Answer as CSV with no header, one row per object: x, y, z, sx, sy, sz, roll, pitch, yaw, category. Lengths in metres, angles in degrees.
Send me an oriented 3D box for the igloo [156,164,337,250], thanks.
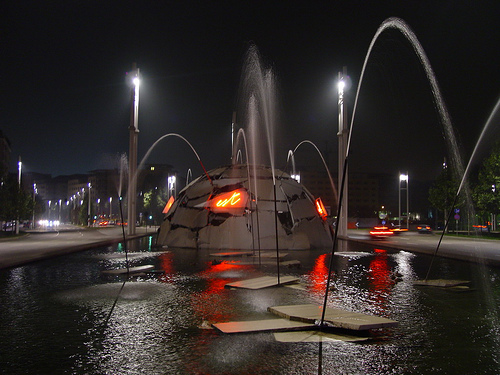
-1.514,1.123,33.899,12.552,5.364,12.612,-14,6,-23,igloo
